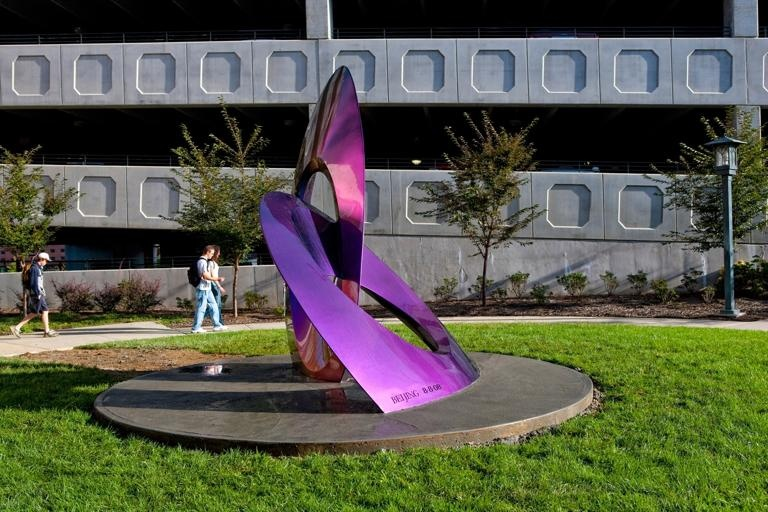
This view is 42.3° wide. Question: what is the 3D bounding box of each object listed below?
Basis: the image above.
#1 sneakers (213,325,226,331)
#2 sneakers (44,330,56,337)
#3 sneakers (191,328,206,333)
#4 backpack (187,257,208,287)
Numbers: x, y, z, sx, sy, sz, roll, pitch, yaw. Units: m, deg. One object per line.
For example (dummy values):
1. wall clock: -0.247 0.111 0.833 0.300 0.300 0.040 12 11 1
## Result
1. sneakers: -6.475 2.840 39.379 0.433 0.252 0.173 -2 0 -7
2. sneakers: -12.945 3.018 38.674 0.447 0.240 0.263 1 -1 -6
3. sneakers: -7.214 2.925 39.108 0.469 0.278 0.194 1 0 -20
4. backpack: -7.213 0.632 38.816 0.700 1.095 0.407 -2 -3 23
